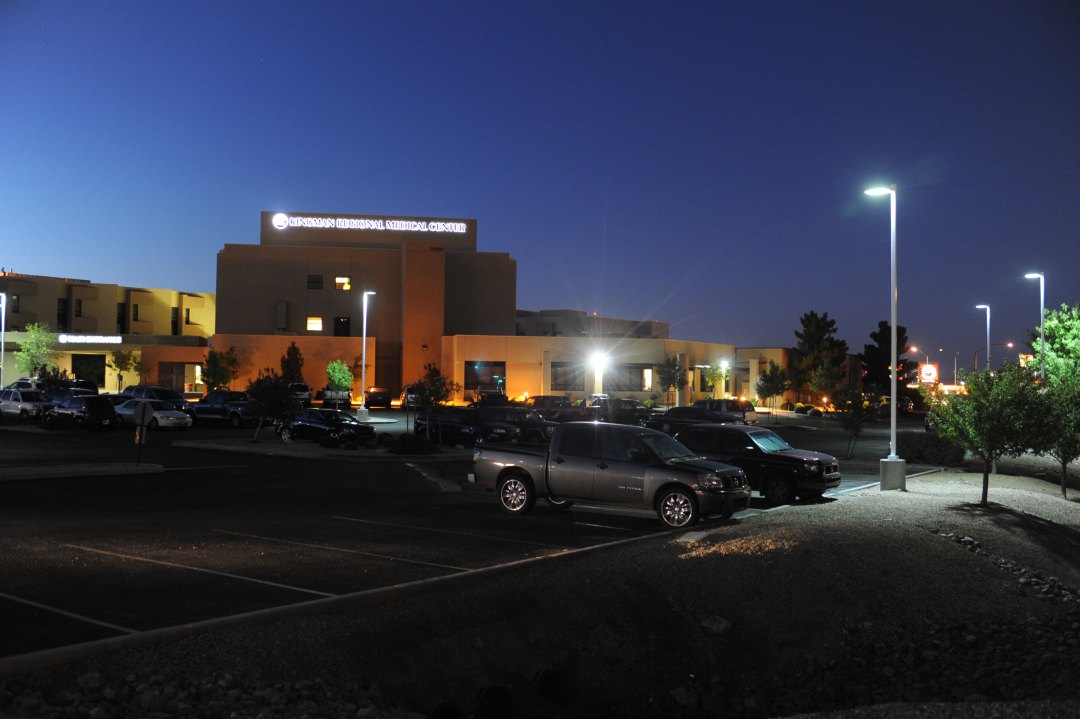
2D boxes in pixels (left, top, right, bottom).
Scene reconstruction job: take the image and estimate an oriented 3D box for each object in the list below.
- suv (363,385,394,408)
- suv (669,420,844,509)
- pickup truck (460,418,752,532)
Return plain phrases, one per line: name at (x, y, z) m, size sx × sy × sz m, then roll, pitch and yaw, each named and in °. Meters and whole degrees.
suv at (-13.784, 3.180, 69.191) m, size 1.978 × 1.127 × 2.436 m, roll 1°, pitch -5°, yaw -9°
suv at (5.791, 2.643, 21.341) m, size 4.665 × 1.830 × 2.070 m, roll -2°, pitch -3°, yaw 37°
pickup truck at (1.691, 2.612, 17.820) m, size 6.211 × 2.104 × 2.562 m, roll -1°, pitch -2°, yaw 28°
